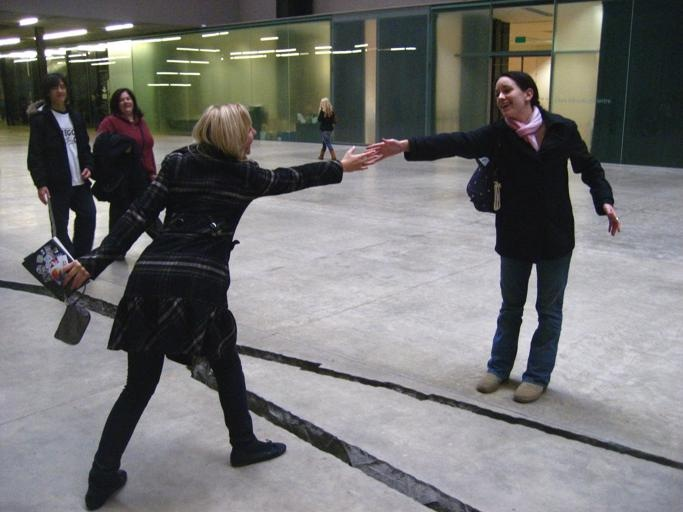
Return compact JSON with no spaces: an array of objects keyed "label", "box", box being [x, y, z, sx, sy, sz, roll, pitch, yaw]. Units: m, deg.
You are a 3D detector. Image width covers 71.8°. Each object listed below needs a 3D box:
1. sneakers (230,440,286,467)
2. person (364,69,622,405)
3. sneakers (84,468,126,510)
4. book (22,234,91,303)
[{"label":"sneakers","box":[-0.456,1.047,2.634,0.322,0.114,0.115,-6,10,-29]},{"label":"person","box":[1.209,-0.140,3.291,1.322,2.196,0.742,2,17,13]},{"label":"sneakers","box":[-1.132,1.121,2.261,0.079,0.149,0.225,19,30,16]},{"label":"book","box":[-1.612,0.052,2.678,0.403,0.408,0.100,-40,1,28]}]
